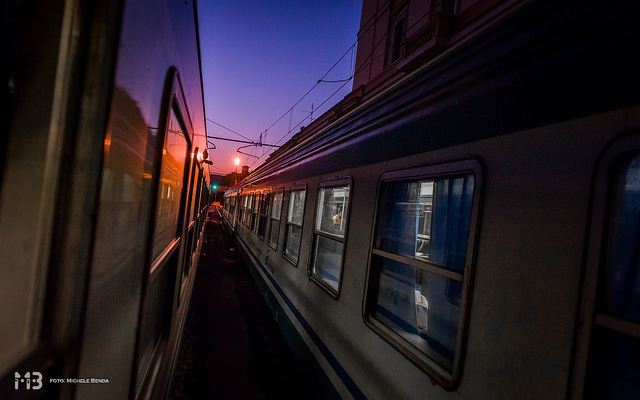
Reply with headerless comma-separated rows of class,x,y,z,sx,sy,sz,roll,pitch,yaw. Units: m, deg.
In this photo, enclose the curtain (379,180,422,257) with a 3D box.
curtain,0.637,0.136,2.899,0.160,0.569,0.264,1,0,18
